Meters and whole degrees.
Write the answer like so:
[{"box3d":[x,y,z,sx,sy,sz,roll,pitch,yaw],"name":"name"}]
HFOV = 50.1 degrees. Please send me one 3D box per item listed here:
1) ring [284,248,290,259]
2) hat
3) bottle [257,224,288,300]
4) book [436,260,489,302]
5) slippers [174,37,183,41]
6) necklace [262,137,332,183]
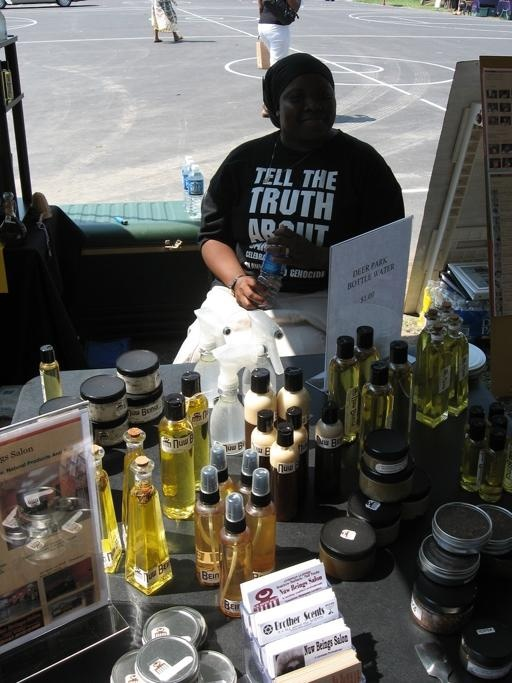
[{"box3d":[0.125,-0.368,2.289,0.008,0.046,0.025,14,27,30],"name":"ring"},{"box3d":[0.166,-1.148,2.510,0.360,0.311,0.267,10,25,23],"name":"hat"},{"box3d":[0.080,-0.317,2.332,0.142,0.310,0.136,5,14,-1],"name":"bottle"},{"box3d":[1.427,-0.427,3.776,0.299,0.083,0.294,22,50,20],"name":"book"},{"box3d":[-2.444,-9.468,17.164,0.188,0.174,0.081,-16,58,-8],"name":"slippers"},{"box3d":[0.169,-0.794,2.477,0.204,0.257,0.104,7,12,7],"name":"necklace"}]
